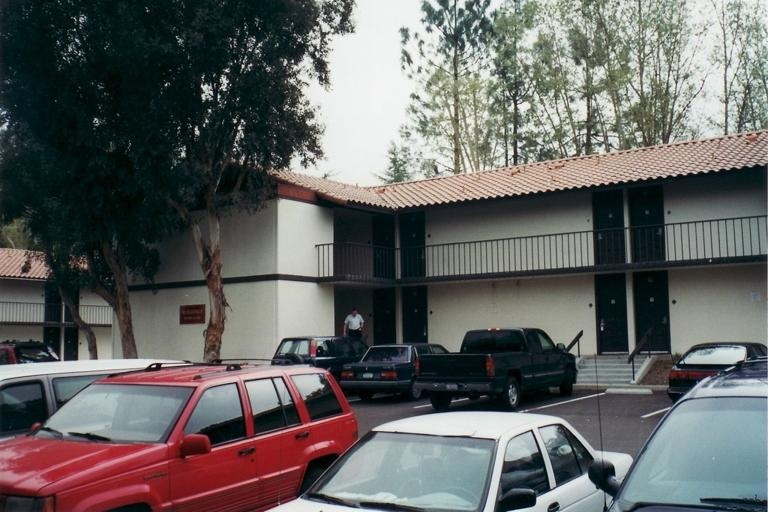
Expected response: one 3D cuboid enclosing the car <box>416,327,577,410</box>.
[{"bbox_3d":[3.391,3.018,19.208,2.020,1.609,4.254,-5,-5,37],"label":"car"}]
